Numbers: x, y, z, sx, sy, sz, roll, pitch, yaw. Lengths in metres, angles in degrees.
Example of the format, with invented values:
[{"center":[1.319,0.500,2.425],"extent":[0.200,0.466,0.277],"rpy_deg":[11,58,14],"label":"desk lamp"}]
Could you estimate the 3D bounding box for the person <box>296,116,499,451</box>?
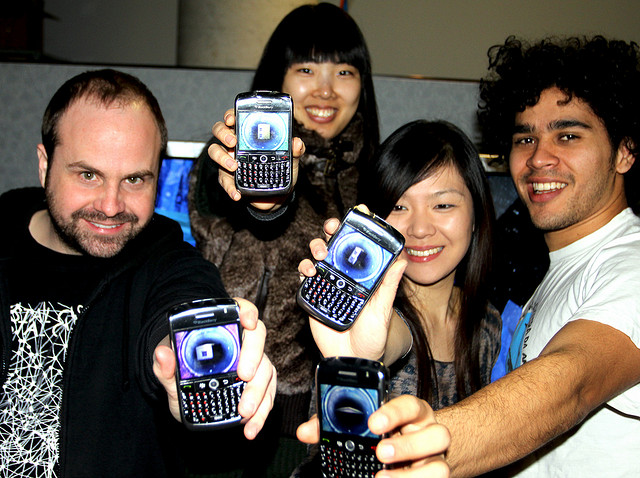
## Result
[{"center":[0.429,0.113,2.281],"extent":[0.726,1.389,0.319],"rpy_deg":[16,-6,15],"label":"person"}]
